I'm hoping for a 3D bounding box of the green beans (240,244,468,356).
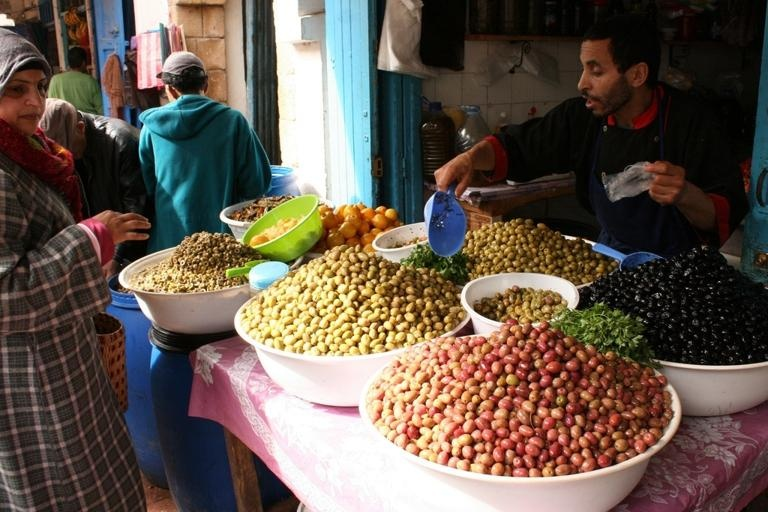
[{"bbox_3d":[-0.155,0.205,2.498,0.891,0.352,0.875,4,8,43],"label":"green beans"}]

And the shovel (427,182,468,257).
[{"bbox_3d":[0.289,-0.165,2.770,0.109,0.290,0.200,-12,22,-35],"label":"shovel"}]

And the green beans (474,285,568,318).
[{"bbox_3d":[0.544,0.237,2.348,0.310,0.112,0.320,-1,21,23],"label":"green beans"}]

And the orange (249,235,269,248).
[{"bbox_3d":[-0.646,-0.081,3.078,0.077,0.047,0.064,-22,31,-20],"label":"orange"}]

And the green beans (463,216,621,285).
[{"bbox_3d":[0.658,-0.022,2.867,0.655,0.285,0.661,-3,17,-12],"label":"green beans"}]

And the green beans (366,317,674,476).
[{"bbox_3d":[0.424,0.441,1.896,1.000,0.304,0.421,0,21,5],"label":"green beans"}]
